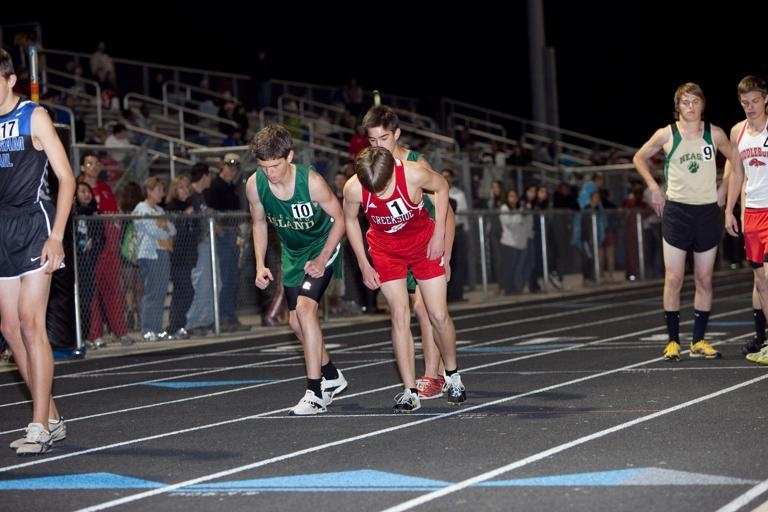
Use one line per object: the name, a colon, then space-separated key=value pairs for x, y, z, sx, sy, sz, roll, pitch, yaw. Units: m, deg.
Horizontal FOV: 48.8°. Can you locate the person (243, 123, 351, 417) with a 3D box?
person: x=-0.907 y=0.151 z=9.051 sx=1.021 sy=3.046 sz=0.986 roll=-3 pitch=2 yaw=-17

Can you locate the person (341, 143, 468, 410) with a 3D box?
person: x=0.228 y=0.248 z=8.770 sx=1.210 sy=2.754 sz=0.755 roll=-3 pitch=2 yaw=-16

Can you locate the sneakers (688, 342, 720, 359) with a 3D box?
sneakers: x=4.112 y=1.199 z=10.942 sx=0.166 sy=0.181 sz=0.401 roll=2 pitch=-4 yaw=-42

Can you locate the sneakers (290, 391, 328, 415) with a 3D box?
sneakers: x=-0.778 y=1.576 z=9.033 sx=0.184 sy=0.201 sz=0.422 roll=-6 pitch=-8 yaw=41

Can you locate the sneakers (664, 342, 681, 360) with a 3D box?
sneakers: x=3.713 y=1.203 z=10.909 sx=0.186 sy=0.230 sz=0.250 roll=-2 pitch=2 yaw=22

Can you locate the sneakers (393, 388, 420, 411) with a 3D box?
sneakers: x=0.237 y=1.510 z=8.850 sx=0.155 sy=0.149 sz=0.360 roll=-3 pitch=-9 yaw=18

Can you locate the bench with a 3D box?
bench: x=-4.398 y=-3.261 z=21.731 sx=7.384 sy=3.044 sz=1.993 roll=7 pitch=10 yaw=37
